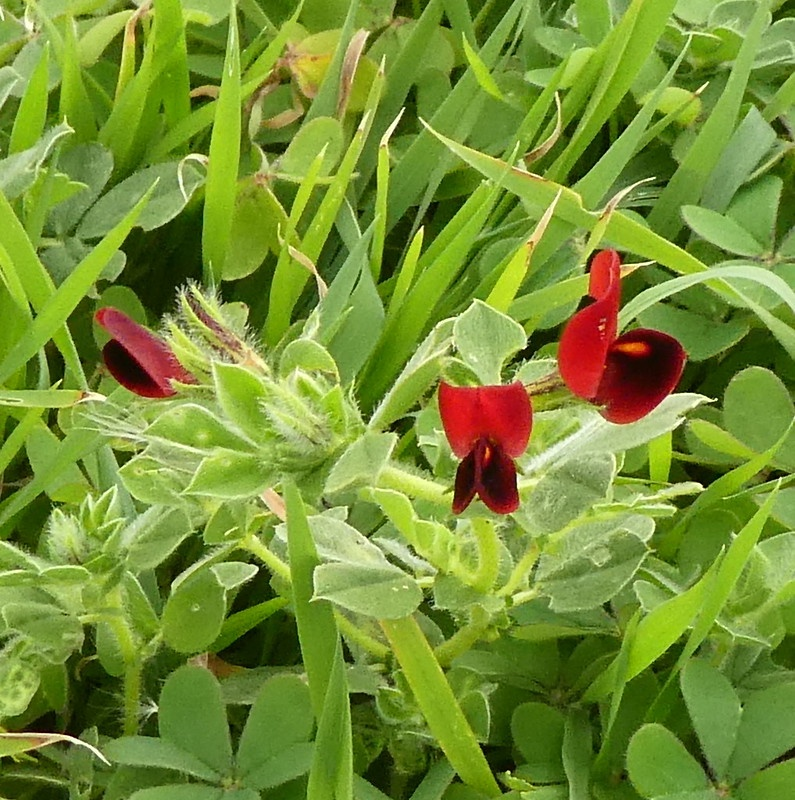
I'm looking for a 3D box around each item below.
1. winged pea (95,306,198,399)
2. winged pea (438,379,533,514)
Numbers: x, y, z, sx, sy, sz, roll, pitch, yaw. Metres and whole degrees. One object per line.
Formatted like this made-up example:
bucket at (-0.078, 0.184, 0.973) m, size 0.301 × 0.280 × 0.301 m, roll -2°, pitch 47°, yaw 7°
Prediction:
winged pea at (-0.240, -0.021, 1.059) m, size 0.084 × 0.118 × 0.035 m, roll 24°, pitch 64°, yaw 0°
winged pea at (0.065, 0.036, 0.873) m, size 0.075 × 0.080 × 0.078 m, roll 7°, pitch 50°, yaw -1°
